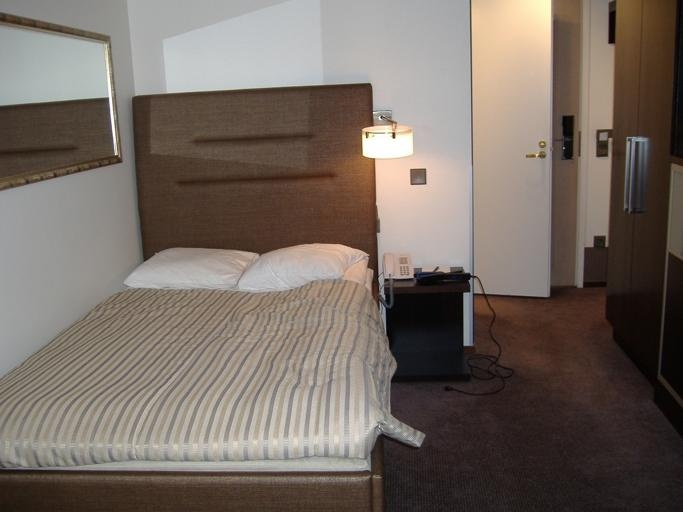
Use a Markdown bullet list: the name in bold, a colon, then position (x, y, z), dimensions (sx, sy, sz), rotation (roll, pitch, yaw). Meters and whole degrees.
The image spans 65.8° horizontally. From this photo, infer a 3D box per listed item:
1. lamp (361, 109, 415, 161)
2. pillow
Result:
- **lamp**: position (0.302, -0.809, 3.520), dimensions (0.305, 0.315, 0.437), rotation (-8, 19, -6)
- **pillow**: position (-0.606, 0.070, 3.506), dimensions (1.539, 0.251, 0.459), rotation (-3, 13, 6)
